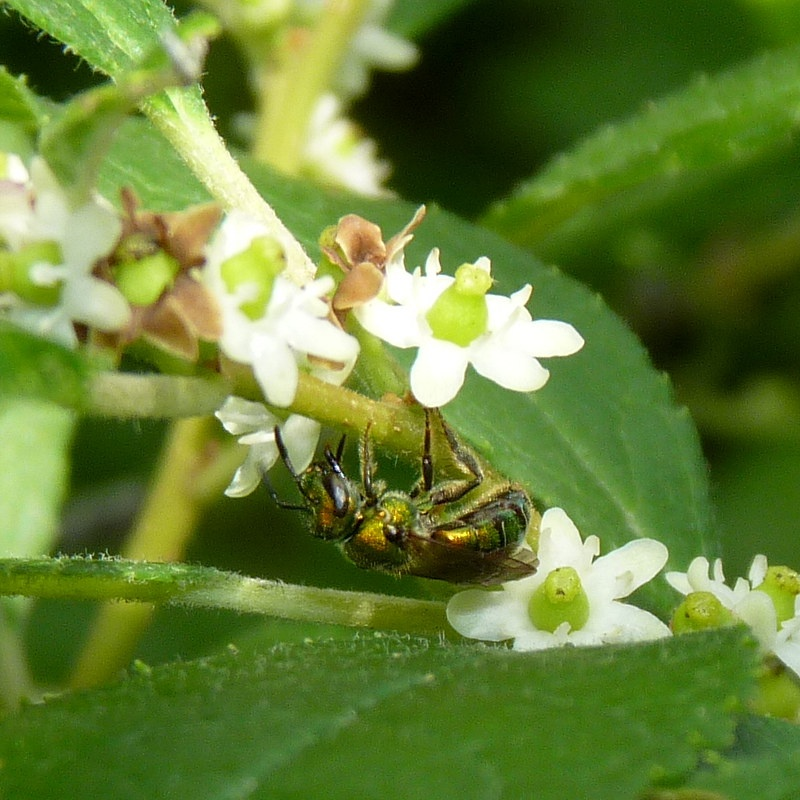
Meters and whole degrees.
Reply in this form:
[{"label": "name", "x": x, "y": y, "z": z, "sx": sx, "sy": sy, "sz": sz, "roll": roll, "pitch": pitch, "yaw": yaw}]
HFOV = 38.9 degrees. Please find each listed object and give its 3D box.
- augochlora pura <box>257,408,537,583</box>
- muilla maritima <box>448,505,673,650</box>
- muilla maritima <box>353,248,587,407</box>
[{"label": "augochlora pura", "x": 0.006, "y": 0.080, "z": 1.140, "sx": 0.234, "sy": 0.168, "sz": 0.078, "roll": 19, "pitch": 56, "yaw": -3}, {"label": "muilla maritima", "x": 0.154, "y": 0.183, "z": 1.061, "sx": 0.132, "sy": 0.053, "sz": 0.127, "roll": -32, "pitch": 56, "yaw": -17}, {"label": "muilla maritima", "x": 0.058, "y": -0.068, "z": 1.041, "sx": 0.177, "sy": 0.068, "sz": 0.159, "roll": -2, "pitch": 50, "yaw": -22}]
